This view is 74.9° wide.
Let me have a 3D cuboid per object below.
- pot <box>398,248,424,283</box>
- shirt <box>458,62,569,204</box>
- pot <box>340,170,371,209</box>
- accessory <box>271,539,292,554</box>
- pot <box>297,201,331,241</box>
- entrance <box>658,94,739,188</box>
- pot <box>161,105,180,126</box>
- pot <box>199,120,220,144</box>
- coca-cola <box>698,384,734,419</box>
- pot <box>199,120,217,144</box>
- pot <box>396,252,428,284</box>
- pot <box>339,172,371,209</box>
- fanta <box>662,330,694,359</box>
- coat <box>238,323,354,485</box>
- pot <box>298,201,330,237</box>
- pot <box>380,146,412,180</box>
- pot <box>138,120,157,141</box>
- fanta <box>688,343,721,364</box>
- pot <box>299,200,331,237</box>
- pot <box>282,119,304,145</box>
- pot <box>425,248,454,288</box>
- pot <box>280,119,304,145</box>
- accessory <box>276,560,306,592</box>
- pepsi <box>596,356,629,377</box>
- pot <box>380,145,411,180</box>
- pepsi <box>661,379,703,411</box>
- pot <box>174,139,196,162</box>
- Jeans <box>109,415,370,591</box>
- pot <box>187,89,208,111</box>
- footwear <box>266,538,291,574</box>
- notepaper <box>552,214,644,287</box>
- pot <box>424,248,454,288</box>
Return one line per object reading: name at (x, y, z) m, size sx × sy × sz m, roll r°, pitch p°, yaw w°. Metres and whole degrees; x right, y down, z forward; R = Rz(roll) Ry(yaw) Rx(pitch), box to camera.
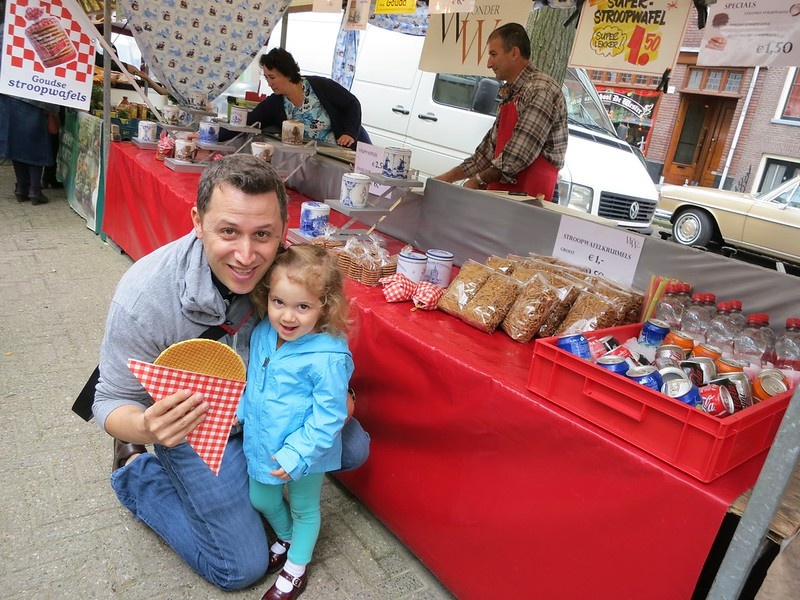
pot at (0.051, -0.159, 2.433) m, size 0.143 × 0.157 × 0.141 m, roll 4°, pitch 18°, yaw -1°
shirt at (0.726, -1.147, 3.598) m, size 0.774 × 0.797 × 0.866 m, roll -2°, pitch 15°, yaw -8°
pot at (-0.244, -0.581, 2.775) m, size 0.182 × 0.187 × 0.179 m, roll 8°, pitch 19°, yaw -3°
accessory at (-0.466, 0.957, 2.012) m, size 0.033 × 0.034 × 0.088 m, roll -2°, pitch -16°, yaw 11°
pot at (-0.447, -0.410, 2.684) m, size 0.190 × 0.201 × 0.187 m, roll 5°, pitch 18°, yaw -2°
entrance at (9.192, -4.724, 15.798) m, size 1.761 × 3.148 × 0.295 m, roll 20°, pitch 58°, yaw 28°
pot at (-1.971, -1.584, 4.480) m, size 0.184 × 0.171 × 0.182 m, roll 10°, pitch 27°, yaw -5°
pot at (-1.502, -1.307, 4.070) m, size 0.181 × 0.170 × 0.178 m, roll 6°, pitch 18°, yaw -2°
coca-cola at (0.891, 0.277, 1.453) m, size 0.098 × 0.051 × 0.122 m, roll 25°, pitch 27°, yaw 35°
pot at (-1.506, -1.306, 4.060) m, size 0.175 × 0.163 × 0.165 m, roll 7°, pitch 20°, yaw -3°
pot at (0.052, -0.154, 2.425) m, size 0.139 × 0.151 × 0.137 m, roll 6°, pitch 18°, yaw -2°
pot at (-0.240, -0.561, 2.690) m, size 0.181 × 0.185 × 0.180 m, roll 6°, pitch 20°, yaw -2°
fanta at (0.929, 0.144, 1.777) m, size 0.085 × 0.093 × 0.084 m, roll 4°, pitch 18°, yaw -11°
coat at (-0.407, 0.358, 1.945) m, size 0.398 × 0.548 × 0.507 m, roll -9°, pitch 20°, yaw -44°
pot at (-0.434, -0.428, 2.740) m, size 0.174 × 0.183 × 0.171 m, roll 6°, pitch 19°, yaw -2°
pot at (-0.015, -0.723, 2.752) m, size 0.163 × 0.167 × 0.160 m, roll 4°, pitch 20°, yaw -2°
pot at (-2.190, -1.469, 4.573) m, size 0.192 × 0.201 × 0.186 m, roll 6°, pitch 19°, yaw -2°
fanta at (0.979, 0.167, 1.666) m, size 0.063 × 0.062 × 0.063 m, roll 13°, pitch 10°, yaw 11°
pot at (-0.427, -0.428, 2.751) m, size 0.175 × 0.184 × 0.172 m, roll 6°, pitch 20°, yaw -2°
pot at (-0.739, -1.134, 3.550) m, size 0.171 × 0.143 × 0.162 m, roll 5°, pitch 10°, yaw -1°
pot at (0.187, -0.150, 2.437) m, size 0.136 × 0.147 × 0.132 m, roll 8°, pitch 27°, yaw -4°
pot at (-0.748, -1.159, 3.626) m, size 0.175 × 0.146 × 0.168 m, roll 7°, pitch 14°, yaw -2°
accessory at (-0.395, 1.003, 1.879) m, size 0.056 × 0.063 × 0.154 m, roll -2°, pitch -14°, yaw 6°
pepsi at (0.632, 0.191, 1.528) m, size 0.066 × 0.065 × 0.065 m, roll 6°, pitch 18°, yaw 21°
pot at (-0.021, -0.719, 2.727) m, size 0.163 × 0.166 × 0.161 m, roll 6°, pitch 18°, yaw -2°
pepsi at (0.784, 0.263, 1.428) m, size 0.110 × 0.057 × 0.099 m, roll 19°, pitch 24°, yaw 23°
pot at (-1.660, -1.147, 3.987) m, size 0.142 × 0.156 × 0.175 m, roll 12°, pitch 7°, yaw 37°
Jeans at (-0.839, 0.797, 2.210) m, size 0.691 × 0.646 × 0.229 m, roll -32°, pitch -3°, yaw -17°
pot at (-1.783, -1.749, 4.585) m, size 0.244 × 0.175 × 0.209 m, roll 0°, pitch 14°, yaw -8°
footwear at (-0.471, 0.988, 2.013) m, size 0.054 × 0.061 × 0.157 m, roll 2°, pitch 4°, yaw 24°
notepaper at (0.807, -0.192, 2.153) m, size 0.295 × 0.206 × 0.011 m, roll 26°, pitch 22°, yaw 35°
pot at (0.178, -0.142, 2.465) m, size 0.158 × 0.168 × 0.156 m, roll 6°, pitch 17°, yaw -2°
